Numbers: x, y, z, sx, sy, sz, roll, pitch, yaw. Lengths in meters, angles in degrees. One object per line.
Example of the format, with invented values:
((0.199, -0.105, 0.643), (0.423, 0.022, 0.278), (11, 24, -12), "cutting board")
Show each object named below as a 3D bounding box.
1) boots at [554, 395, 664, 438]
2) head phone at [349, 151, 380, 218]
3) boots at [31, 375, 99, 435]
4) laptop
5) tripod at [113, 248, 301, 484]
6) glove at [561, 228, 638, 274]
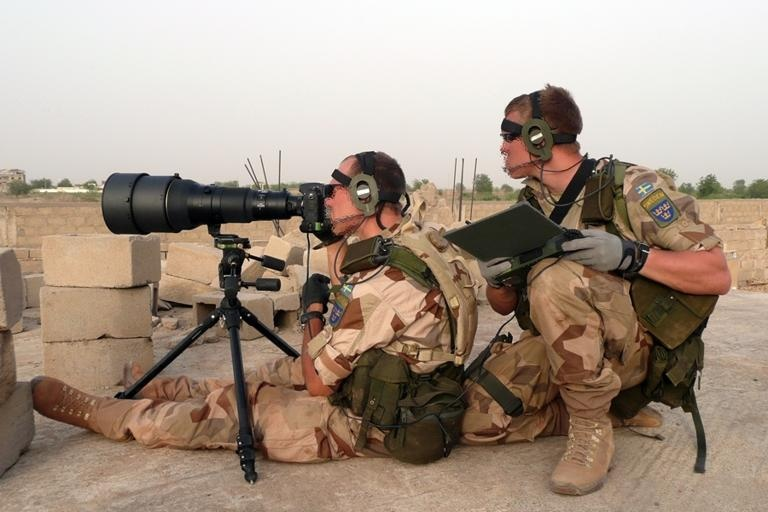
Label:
((1.465, 0.980, 3.944), (0.254, 0.192, 1.009), (-8, -3, 43), "boots")
((-0.272, -0.410, 3.702), (0.381, 0.155, 0.266), (15, 0, -18), "head phone")
((-1.903, 0.866, 3.837), (0.388, 0.345, 0.284), (2, -1, 24), "boots")
((0.665, -0.063, 3.544), (0.518, 0.118, 0.530), (-22, -36, 35), "laptop")
((-1.015, 0.590, 4.032), (0.985, 1.329, 1.061), (-1, -1, 1), "tripod")
((1.157, -0.016, 3.519), (0.404, 0.235, 0.131), (-3, 8, -12), "glove")
